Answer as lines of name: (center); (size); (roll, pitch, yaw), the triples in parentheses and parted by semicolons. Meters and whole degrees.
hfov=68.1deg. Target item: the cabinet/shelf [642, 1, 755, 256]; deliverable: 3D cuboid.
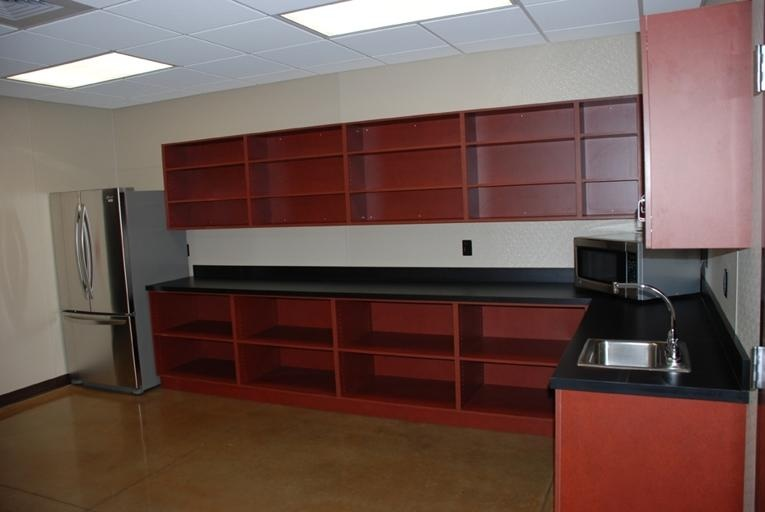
cabinet/shelf: (1.598, -0.661, 2.898); (0.526, 1.231, 0.132); (-1, 9, 12)

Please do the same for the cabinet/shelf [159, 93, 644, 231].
cabinet/shelf: (0.057, -0.765, 5.076); (4.127, 0.992, 0.483); (0, 9, 17)

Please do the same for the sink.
sink: (1.497, 0.594, 3.361); (0.426, 0.153, 0.281); (3, 8, 23)
